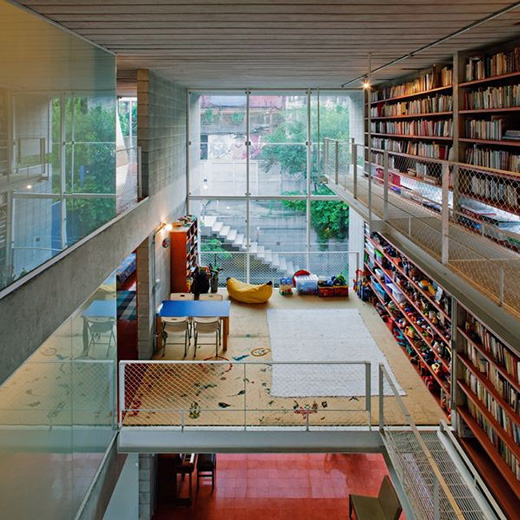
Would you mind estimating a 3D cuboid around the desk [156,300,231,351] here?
[{"bbox_3d":[-1.239,1.248,8.486,1.410,0.830,0.964,-5,13,-13],"label":"desk"}]

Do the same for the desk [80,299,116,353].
[{"bbox_3d":[-1.687,0.674,4.647,0.412,0.466,0.598,5,-30,-25],"label":"desk"}]

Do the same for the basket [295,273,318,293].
[{"bbox_3d":[1.214,0.599,11.526,0.443,0.274,0.451,-2,9,3],"label":"basket"}]

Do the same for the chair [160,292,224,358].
[{"bbox_3d":[-1.196,1.322,8.469,1.200,0.590,0.913,0,10,0],"label":"chair"}]
